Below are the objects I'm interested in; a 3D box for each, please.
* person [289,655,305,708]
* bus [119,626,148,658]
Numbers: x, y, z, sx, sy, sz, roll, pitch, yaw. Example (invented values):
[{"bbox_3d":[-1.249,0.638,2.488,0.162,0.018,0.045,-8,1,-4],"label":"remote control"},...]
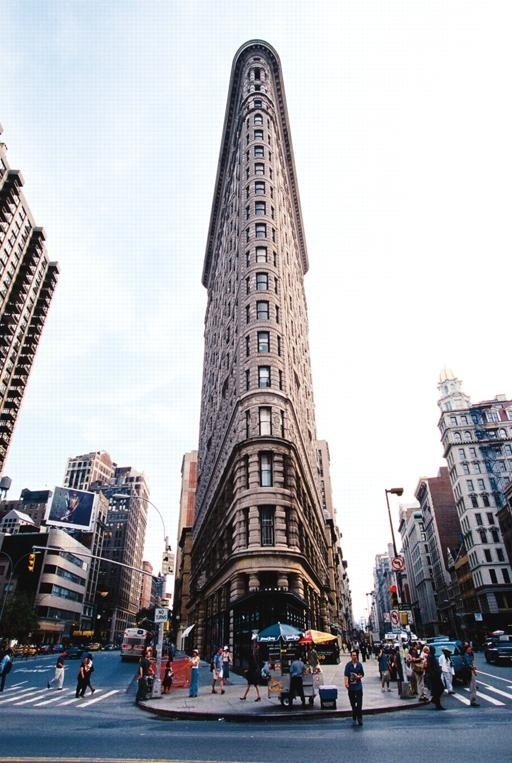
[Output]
[{"bbox_3d":[1.337,9.802,16.311,0.564,1.325,1.661,-3,-30,3],"label":"person"},{"bbox_3d":[-12.205,26.219,50.082,2.028,2.926,3.241,8,-31,-15],"label":"bus"}]
